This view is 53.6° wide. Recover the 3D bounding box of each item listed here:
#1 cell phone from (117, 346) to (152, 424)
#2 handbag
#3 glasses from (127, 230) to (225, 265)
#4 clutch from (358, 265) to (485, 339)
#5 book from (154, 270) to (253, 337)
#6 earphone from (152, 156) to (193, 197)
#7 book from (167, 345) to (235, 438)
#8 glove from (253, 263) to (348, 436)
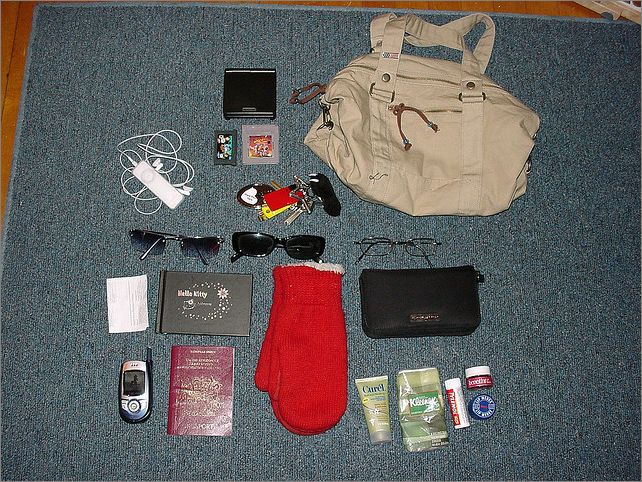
[{"bbox_3d":[-0.695,0.529,2.372,0.127,0.029,0.301,2,94,-2],"label":"cell phone"},{"bbox_3d":[0.400,-0.446,2.435,0.819,0.340,0.625,24,60,6],"label":"handbag"},{"bbox_3d":[-0.566,0.028,2.473,0.359,0.061,0.130,6,107,-7],"label":"glasses"},{"bbox_3d":[0.391,0.242,2.453,0.457,0.137,0.276,-3,59,4],"label":"clutch"},{"bbox_3d":[-0.445,0.239,2.422,0.353,0.108,0.214,5,60,-6],"label":"book"},{"bbox_3d":[-0.573,-0.267,2.506,0.191,0.054,0.116,36,62,12],"label":"earphone"},{"bbox_3d":[-0.454,0.572,2.398,0.232,0.086,0.331,-1,86,-6],"label":"book"},{"bbox_3d":[-0.043,0.405,2.401,0.361,0.123,0.627,-1,84,-4],"label":"glove"}]
